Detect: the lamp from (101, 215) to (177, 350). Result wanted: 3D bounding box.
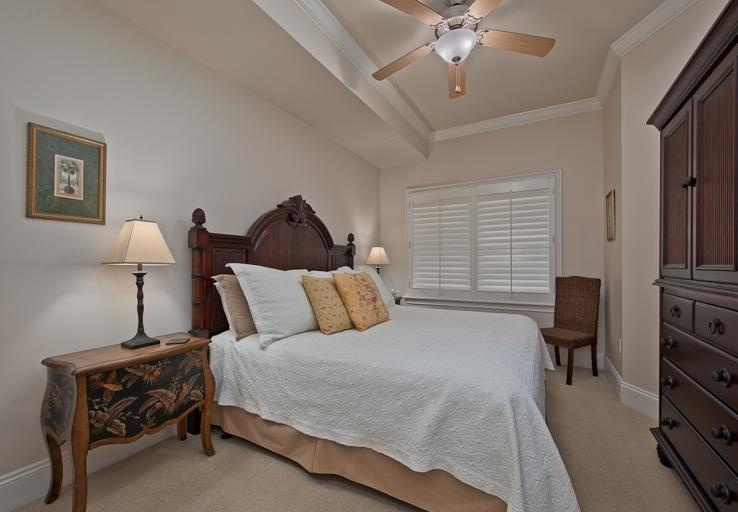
[{"bbox_3d":[-1.692,0.178,3.311,0.450,1.046,0.372,-5,1,-35],"label":"lamp"}]

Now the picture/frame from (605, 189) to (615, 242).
[{"bbox_3d":[2.450,-0.408,4.553,0.040,0.578,0.543,0,-1,20],"label":"picture/frame"}]

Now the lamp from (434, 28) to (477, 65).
[{"bbox_3d":[0.686,-1.668,3.566,0.324,0.217,0.201,-5,0,19],"label":"lamp"}]

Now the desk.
[{"bbox_3d":[-1.613,0.890,3.418,0.855,1.405,1.420,-3,-3,34],"label":"desk"}]

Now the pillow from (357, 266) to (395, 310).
[{"bbox_3d":[0.019,0.392,4.876,0.125,0.469,0.379,-24,4,16],"label":"pillow"}]
